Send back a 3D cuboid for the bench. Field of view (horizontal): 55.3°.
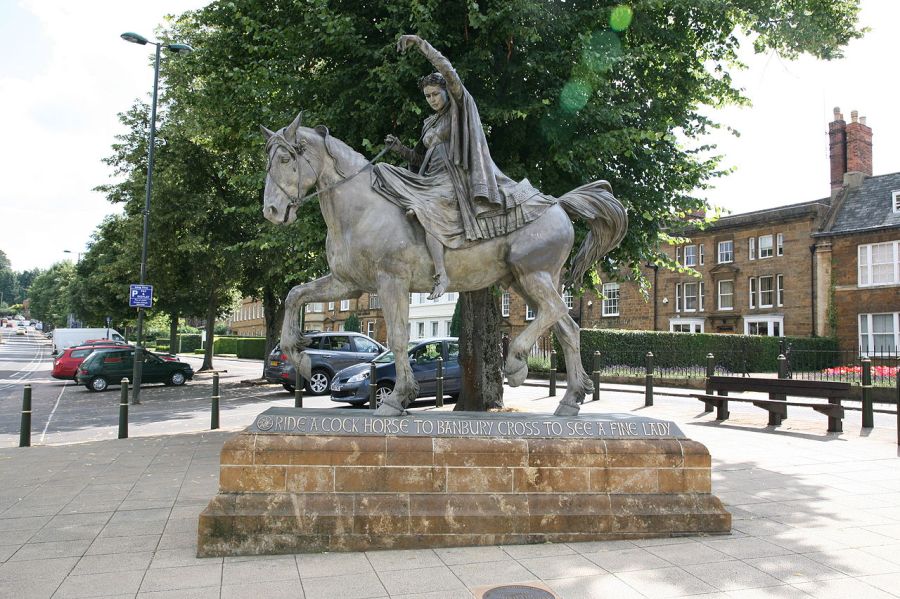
[{"bbox_3d":[8.499,2.561,22.272,3.519,1.205,1.083,-1,9,30],"label":"bench"}]
